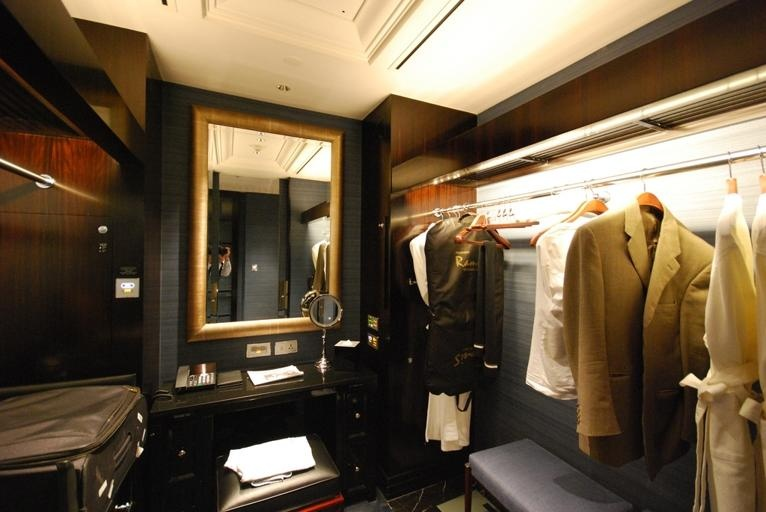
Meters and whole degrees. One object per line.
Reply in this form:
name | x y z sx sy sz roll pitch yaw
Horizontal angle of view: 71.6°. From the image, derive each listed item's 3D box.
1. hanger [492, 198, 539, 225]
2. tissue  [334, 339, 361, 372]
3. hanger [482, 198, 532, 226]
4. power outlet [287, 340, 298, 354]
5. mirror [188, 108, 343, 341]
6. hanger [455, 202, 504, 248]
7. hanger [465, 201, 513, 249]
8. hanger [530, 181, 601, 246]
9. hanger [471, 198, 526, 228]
hanger | 0.898 -0.294 3.645 0.165 0.072 0.232 3 -8 -41
tissue  | -0.268 0.751 3.953 0.178 0.239 0.178 0 1 -17
hanger | 0.874 -0.285 3.672 0.185 0.082 0.251 1 -6 -35
power outlet | -0.670 0.673 3.920 0.103 0.103 0.020 1 -2 -36
mirror | -0.857 -0.238 3.853 1.156 1.670 0.138 -4 0 -18
hanger | 0.659 -0.180 3.528 0.451 0.193 0.033 0 2 -34
hanger | 0.684 -0.182 3.520 0.433 0.192 0.035 16 21 41
hanger | 1.100 -0.258 3.047 0.623 0.264 0.060 -20 30 -23
hanger | 0.762 -0.259 3.567 0.216 0.108 0.292 1 -1 -16
